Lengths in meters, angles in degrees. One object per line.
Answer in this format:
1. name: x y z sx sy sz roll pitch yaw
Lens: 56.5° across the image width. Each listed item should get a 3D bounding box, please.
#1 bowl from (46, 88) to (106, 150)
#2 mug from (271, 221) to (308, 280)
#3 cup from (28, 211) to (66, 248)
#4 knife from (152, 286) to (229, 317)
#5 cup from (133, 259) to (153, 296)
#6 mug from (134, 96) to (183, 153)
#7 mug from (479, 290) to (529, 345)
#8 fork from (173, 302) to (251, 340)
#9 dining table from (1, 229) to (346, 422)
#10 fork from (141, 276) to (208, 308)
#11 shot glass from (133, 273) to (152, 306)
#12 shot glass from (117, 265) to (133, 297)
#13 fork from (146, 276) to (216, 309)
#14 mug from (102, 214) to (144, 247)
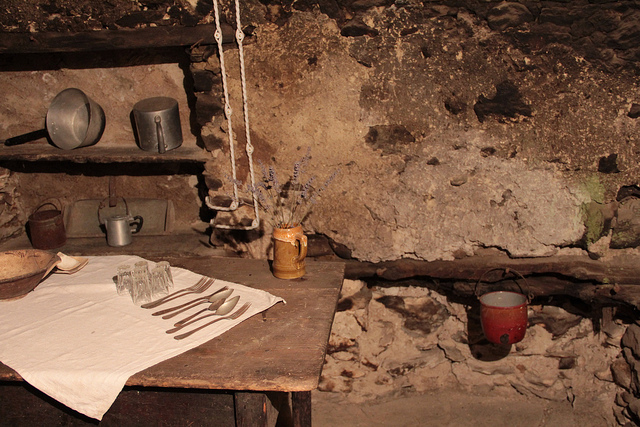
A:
1. bowl: -1.669 -0.649 4.110 0.365 0.420 0.209 -1 6 13
2. mug: -0.160 0.225 3.483 0.204 0.290 0.296 -6 10 -24
3. cup: -1.868 0.091 4.120 0.263 0.267 0.260 -4 6 0
4. knife: -0.706 0.478 3.220 0.271 0.031 0.031 -25 42 -22
5. cup: -0.963 0.356 3.349 0.153 0.165 0.149 -5 8 1
6. mug: -1.081 -0.582 3.994 0.292 0.289 0.380 -9 35 -17
7. mug: 1.156 0.661 3.744 0.313 0.273 0.353 0 6 17
8. fork: -0.555 0.535 3.077 0.445 0.064 0.060 -10 15 -32
9. dining table: -0.858 0.625 3.322 1.876 0.876 1.217 -1 5 10
10. fork: -0.807 0.434 3.274 0.359 0.051 0.040 -18 41 -25
11. shot glass: -1.006 0.412 3.269 0.120 0.143 0.115 7 -6 -7
12. shot glass: -1.080 0.381 3.338 0.104 0.148 0.104 -7 -8 10
13. fork: -0.770 0.438 3.276 0.386 0.054 0.050 -17 32 -25
14. mug: -1.334 0.113 4.082 0.263 0.220 0.156 -9 6 -32
